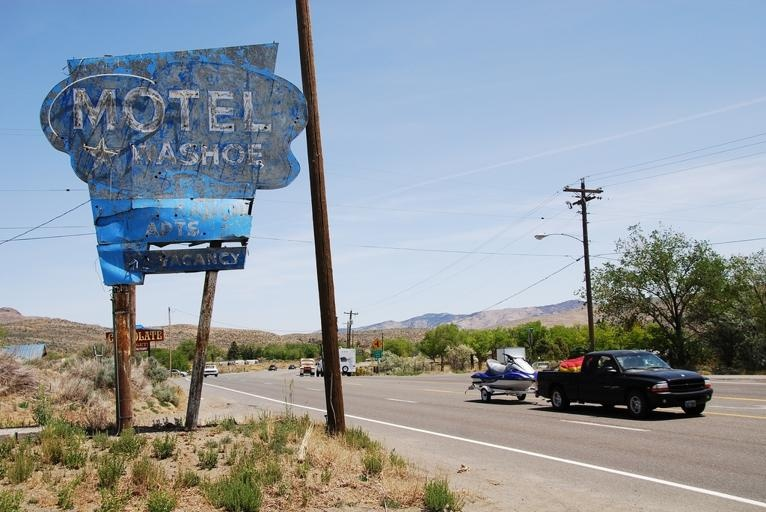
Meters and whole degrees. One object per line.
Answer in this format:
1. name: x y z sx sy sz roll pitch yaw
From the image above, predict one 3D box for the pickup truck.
1. pickup truck: 8.479 4.622 27.219 2.254 2.308 6.509 6 -10 -32
